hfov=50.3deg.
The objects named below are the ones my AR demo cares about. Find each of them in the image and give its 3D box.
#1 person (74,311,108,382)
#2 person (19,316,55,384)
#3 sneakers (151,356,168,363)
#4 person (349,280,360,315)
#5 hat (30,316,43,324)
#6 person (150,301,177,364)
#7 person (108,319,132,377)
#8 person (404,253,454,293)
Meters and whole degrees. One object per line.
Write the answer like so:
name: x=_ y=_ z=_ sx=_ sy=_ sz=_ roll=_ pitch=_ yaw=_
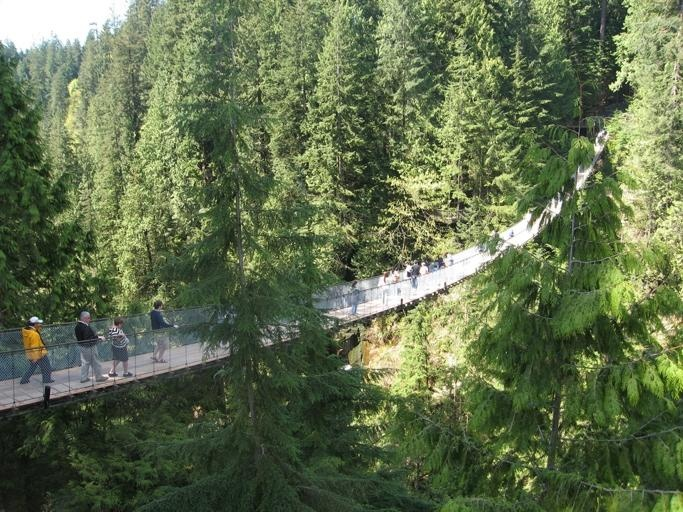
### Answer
person: x=-6.532 y=2.375 z=18.930 sx=0.762 sy=1.856 sz=1.069 roll=-4 pitch=-2 yaw=5
person: x=-7.686 y=2.392 z=18.261 sx=0.729 sy=1.706 sz=0.735 roll=-3 pitch=-2 yaw=-12
sneakers: x=-5.018 y=2.858 z=20.046 sx=0.364 sy=0.184 sz=0.129 roll=-1 pitch=11 yaw=-7
person: x=0.522 y=1.564 z=27.306 sx=0.380 sy=0.834 sz=1.458 roll=-4 pitch=-2 yaw=6
hat: x=-7.691 y=1.609 z=18.233 sx=0.250 sy=0.185 sz=0.588 roll=-4 pitch=-3 yaw=-25
person: x=-4.970 y=2.076 z=20.109 sx=0.622 sy=1.730 sz=1.305 roll=-3 pitch=-3 yaw=-15
person: x=-5.912 y=2.547 z=19.338 sx=0.599 sy=1.423 sz=0.350 roll=-3 pitch=-2 yaw=-22
person: x=3.745 y=0.697 z=30.115 sx=0.844 sy=1.639 sz=3.908 roll=-2 pitch=7 yaw=21
